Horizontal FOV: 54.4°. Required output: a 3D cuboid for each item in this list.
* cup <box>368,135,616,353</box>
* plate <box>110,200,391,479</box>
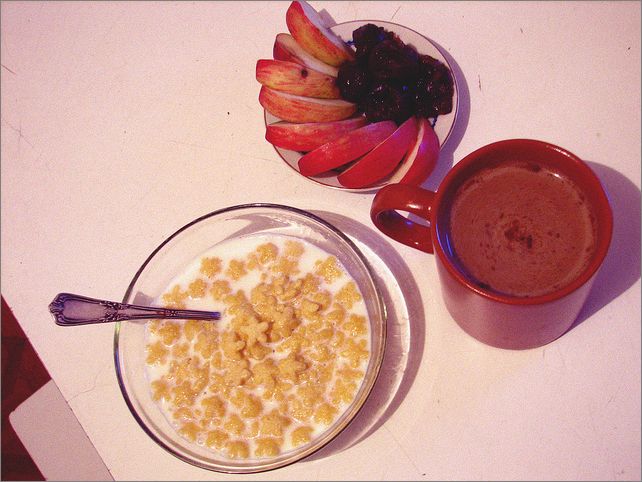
[{"bbox_3d":[0.303,0.017,1.231,0.425,0.307,0.336,18,79,17],"label":"cup"},{"bbox_3d":[-0.155,0.193,1.306,0.554,0.182,0.559,24,78,0],"label":"plate"}]
